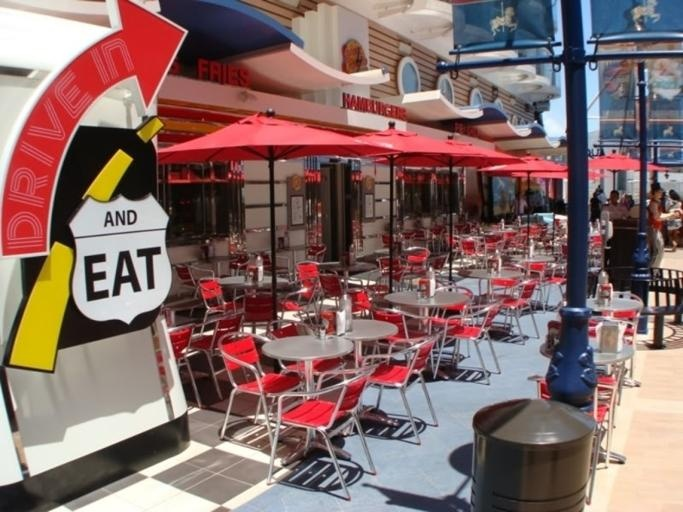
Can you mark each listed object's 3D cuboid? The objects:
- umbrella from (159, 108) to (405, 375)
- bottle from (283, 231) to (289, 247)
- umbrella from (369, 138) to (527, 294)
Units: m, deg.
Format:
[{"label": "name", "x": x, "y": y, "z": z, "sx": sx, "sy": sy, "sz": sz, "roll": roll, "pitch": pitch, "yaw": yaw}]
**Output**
[{"label": "umbrella", "x": -0.929, "y": -0.435, "z": 7.317, "sx": 2.925, "sy": 2.668, "sz": 2.864, "roll": -10, "pitch": 20, "yaw": -29}, {"label": "bottle", "x": -1.357, "y": -0.382, "z": 13.417, "sx": 0.130, "sy": 0.330, "sz": 0.395, "roll": -1, "pitch": 5, "yaw": 4}, {"label": "umbrella", "x": 1.901, "y": -0.849, "z": 9.802, "sx": 2.548, "sy": 2.439, "sz": 2.808, "roll": 5, "pitch": 16, "yaw": 32}]
